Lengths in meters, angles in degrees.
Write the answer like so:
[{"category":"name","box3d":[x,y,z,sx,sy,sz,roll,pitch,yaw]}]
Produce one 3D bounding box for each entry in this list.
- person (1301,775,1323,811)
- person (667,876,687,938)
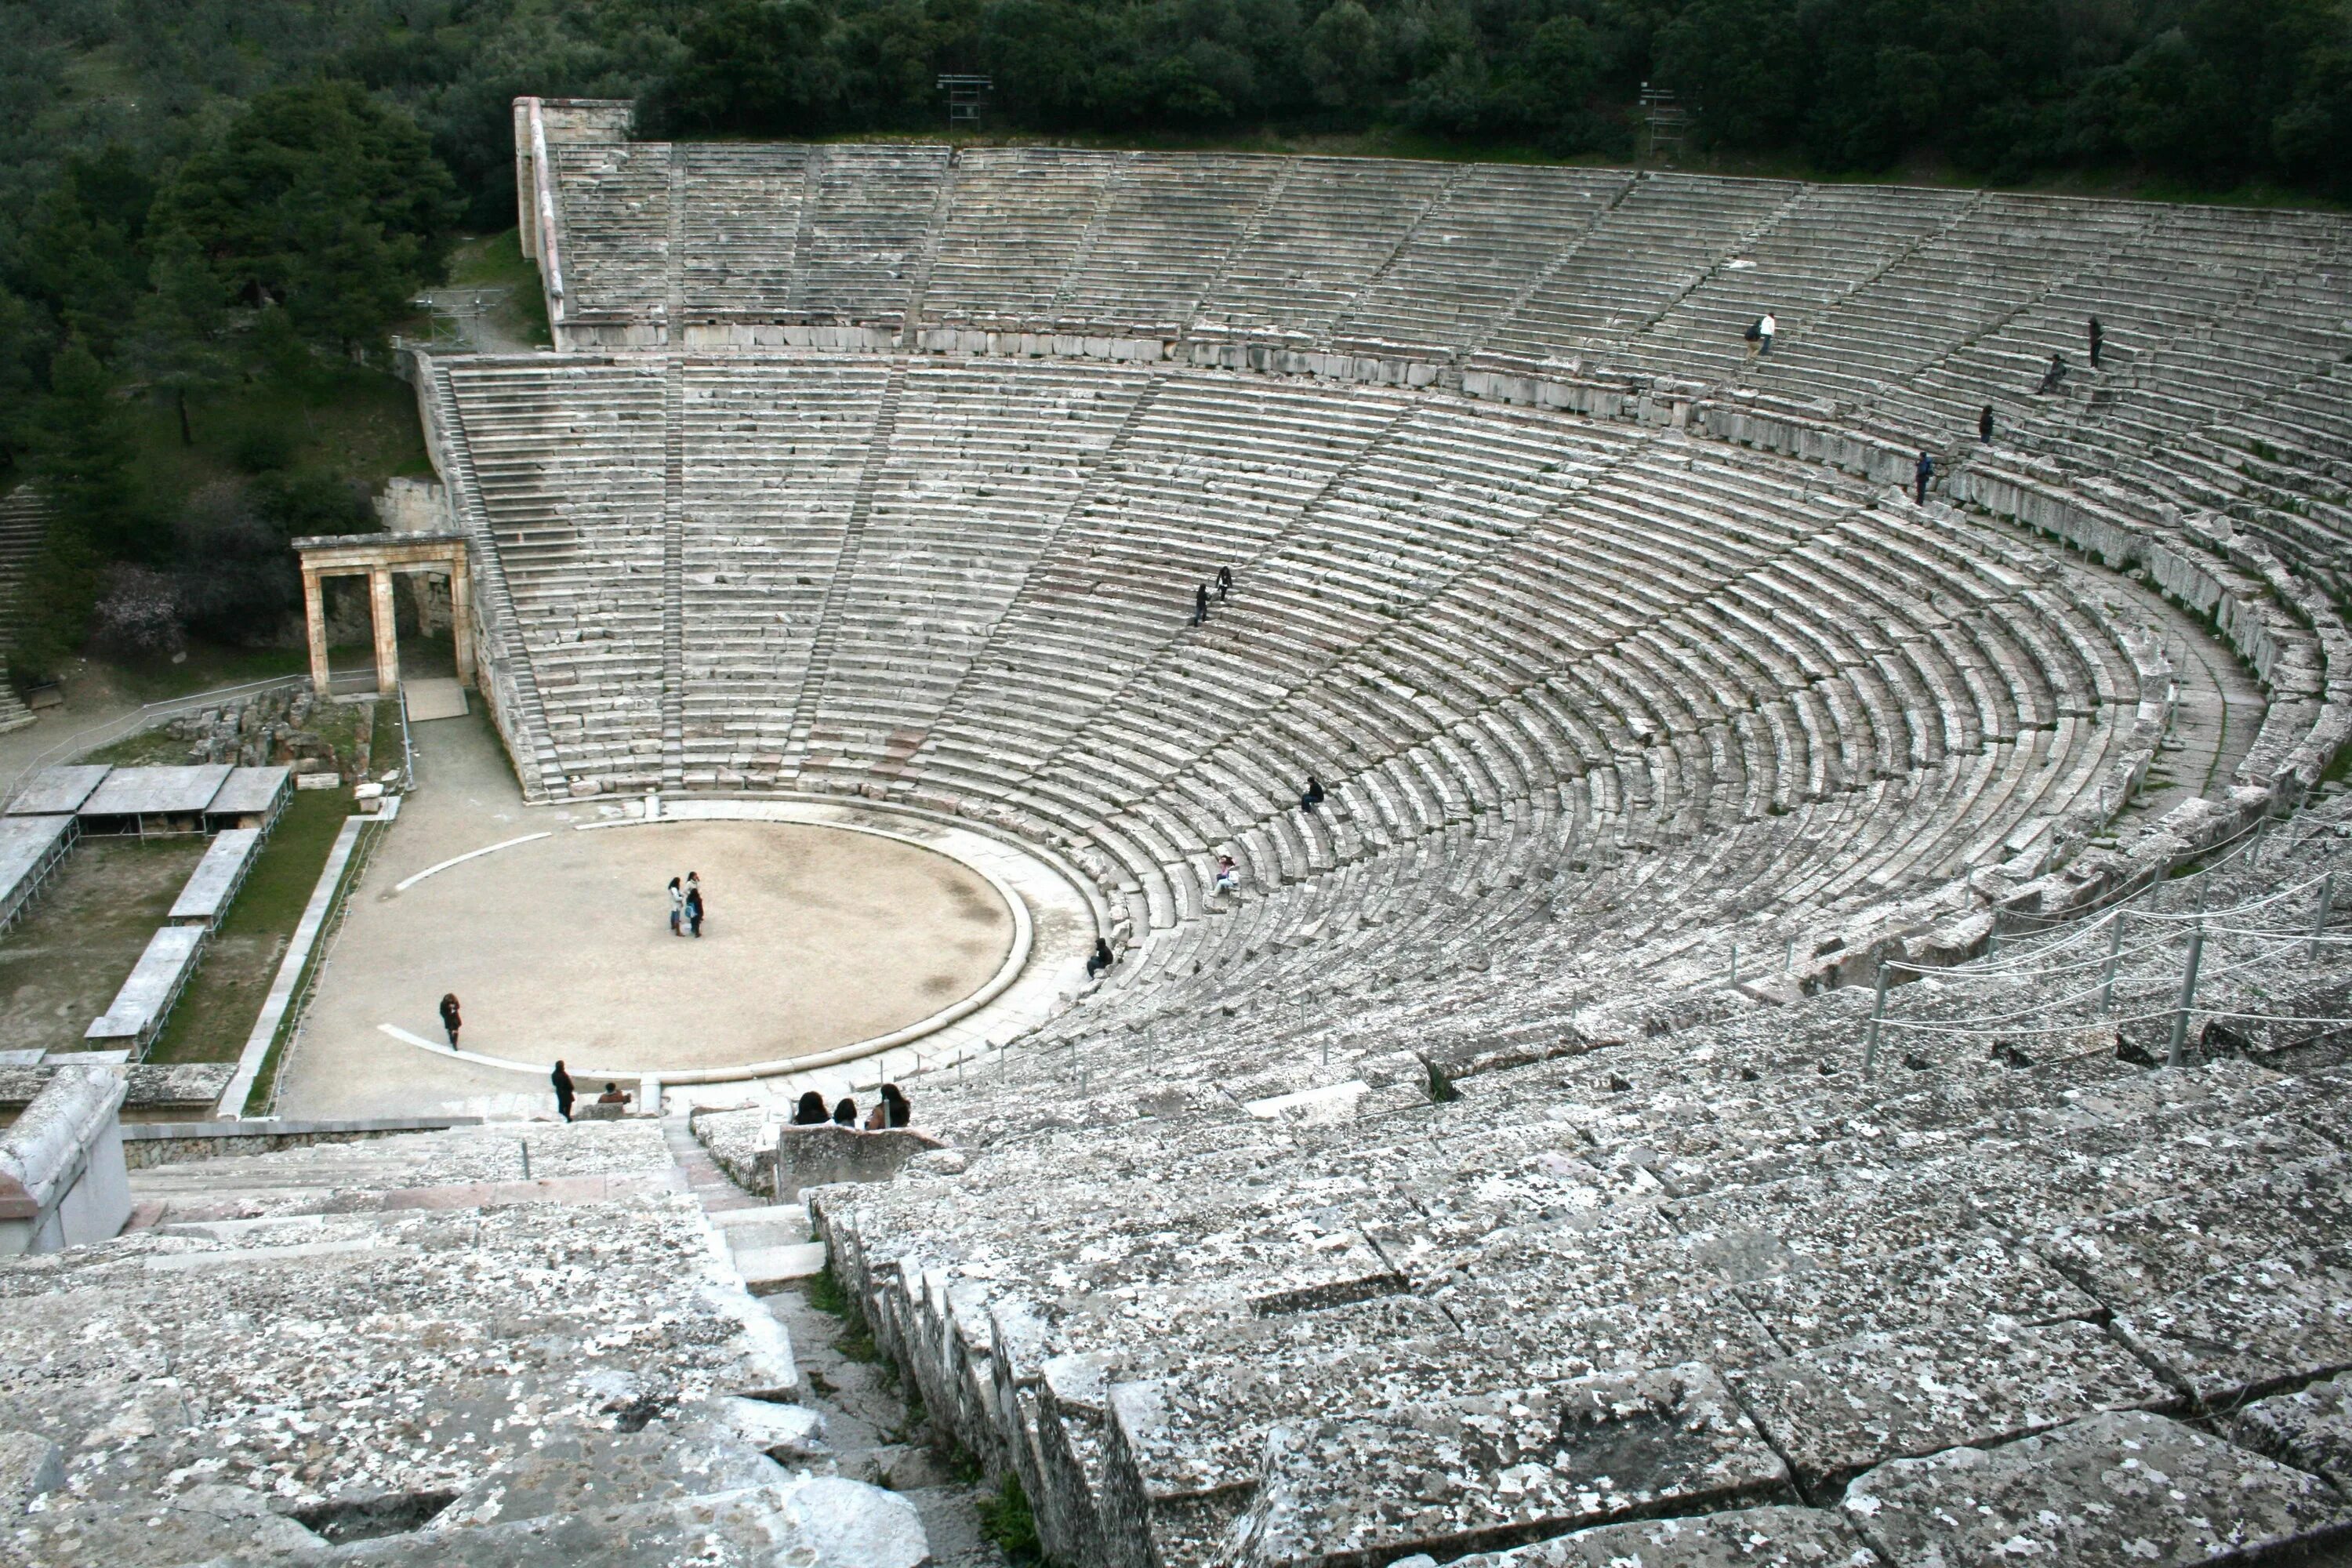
[{"category":"person","box3d":[2.727,0.125,28.916,0.456,0.592,0.703,8,26,3]},{"category":"person","box3d":[-9.883,2.361,28.277,0.352,1.139,0.742,-3,31,-18]}]
